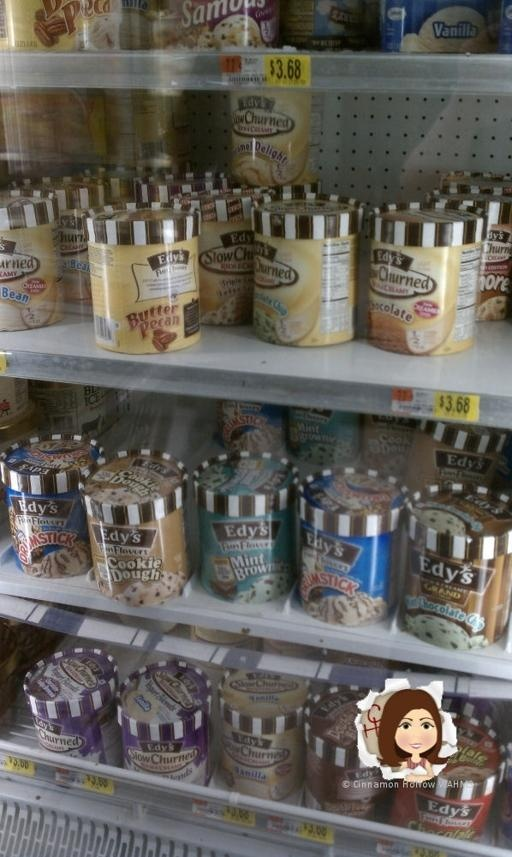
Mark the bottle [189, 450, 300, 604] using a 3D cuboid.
[{"bbox_3d":[-0.016,0.160,1.199,0.200,0.220,0.199,-18,30,-31],"label":"bottle"}]

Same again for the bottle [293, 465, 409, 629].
[{"bbox_3d":[0.137,0.177,1.122,0.197,0.223,0.203,0,25,3],"label":"bottle"}]

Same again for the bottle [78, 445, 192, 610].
[{"bbox_3d":[-0.199,0.158,1.215,0.202,0.226,0.206,25,39,38],"label":"bottle"}]

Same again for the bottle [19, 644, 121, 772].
[{"bbox_3d":[-0.336,0.551,1.371,0.190,0.212,0.194,-9,20,-9],"label":"bottle"}]

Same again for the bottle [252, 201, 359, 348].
[{"bbox_3d":[0.068,-0.243,1.047,0.182,0.204,0.191,1,34,3],"label":"bottle"}]

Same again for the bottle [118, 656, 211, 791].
[{"bbox_3d":[-0.145,0.523,1.278,0.186,0.202,0.192,0,20,0],"label":"bottle"}]

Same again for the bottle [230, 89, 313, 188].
[{"bbox_3d":[0.025,-0.494,1.185,0.150,0.171,0.155,-2,33,1],"label":"bottle"}]
